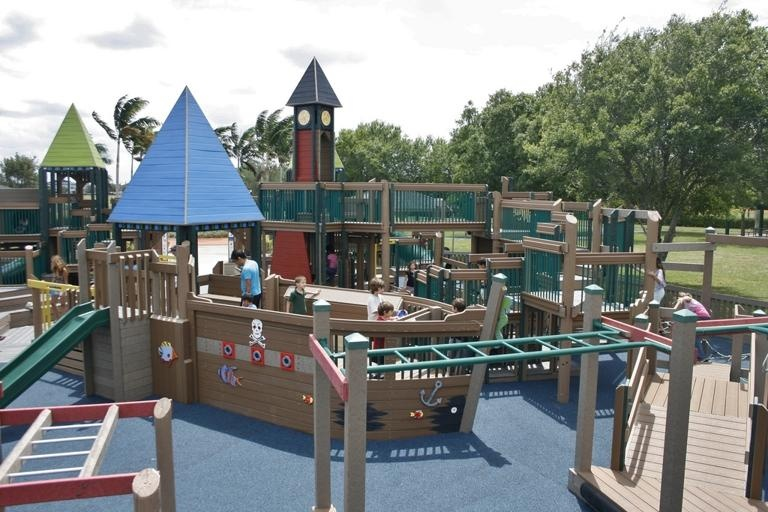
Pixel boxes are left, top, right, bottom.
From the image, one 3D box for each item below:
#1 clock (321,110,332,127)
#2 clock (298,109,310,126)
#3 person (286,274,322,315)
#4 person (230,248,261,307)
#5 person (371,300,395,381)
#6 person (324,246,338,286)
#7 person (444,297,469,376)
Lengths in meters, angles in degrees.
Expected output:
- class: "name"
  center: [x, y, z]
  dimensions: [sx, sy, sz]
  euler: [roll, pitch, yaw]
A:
- class: "clock"
  center: [-2.417, -5.681, 26.562]
  dimensions: [0.175, 0.629, 0.601]
  euler: [4, 14, 30]
- class: "clock"
  center: [-3.289, -5.679, 26.462]
  dimensions: [0.693, 0.614, 0.075]
  euler: [4, 7, 30]
- class: "person"
  center: [-2.038, 0.979, 16.418]
  dimensions: [0.448, 1.142, 0.836]
  euler: [3, 8, 35]
- class: "person"
  center: [-3.562, 0.586, 16.821]
  dimensions: [0.742, 1.578, 2.815]
  euler: [0, 6, -11]
- class: "person"
  center: [-0.016, 1.809, 14.600]
  dimensions: [0.511, 1.596, 1.492]
  euler: [1, 6, 1]
- class: "person"
  center: [-1.921, 0.479, 23.737]
  dimensions: [0.401, 1.189, 0.477]
  euler: [1, 6, 0]
- class: "person"
  center: [1.768, 1.809, 15.261]
  dimensions: [0.469, 1.547, 1.727]
  euler: [2, 6, 7]
